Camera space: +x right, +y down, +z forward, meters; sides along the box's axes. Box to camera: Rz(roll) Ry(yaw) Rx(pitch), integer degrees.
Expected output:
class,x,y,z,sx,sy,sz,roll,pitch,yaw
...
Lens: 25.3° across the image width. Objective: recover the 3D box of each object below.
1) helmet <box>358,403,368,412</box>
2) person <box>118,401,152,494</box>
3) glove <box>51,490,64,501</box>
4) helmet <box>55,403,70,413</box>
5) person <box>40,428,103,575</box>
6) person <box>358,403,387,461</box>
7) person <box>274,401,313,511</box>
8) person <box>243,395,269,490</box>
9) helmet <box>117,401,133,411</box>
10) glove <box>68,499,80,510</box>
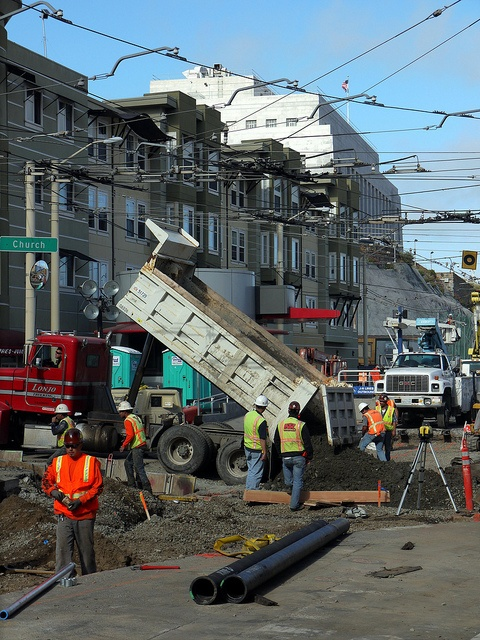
class,x,y,z,sx,sy,sz,roll,pitch,yaw
helmet,2.357,1.662,20.497,0.229,0.122,0.322,-26,-1,6
person,-1.660,2.049,17.007,0.529,1.449,0.951,0,0,-5
glove,-1.826,1.762,10.734,0.134,0.052,0.098,34,-7,9
helmet,-2.995,1.490,17.928,0.223,0.143,0.270,-1,-6,0
person,-1.707,1.876,10.846,0.579,1.508,0.495,1,0,-10
person,2.415,2.071,19.693,0.575,1.121,0.486,0,19,14
person,0.799,1.987,15.746,0.506,1.531,0.985,0,0,2
person,0.223,1.982,16.279,0.395,1.339,0.293,0,0,22
helmet,-1.844,1.433,17.215,0.202,0.119,0.265,-3,10,-1
glove,-1.652,1.846,10.642,0.123,0.047,0.091,-41,8,-11
